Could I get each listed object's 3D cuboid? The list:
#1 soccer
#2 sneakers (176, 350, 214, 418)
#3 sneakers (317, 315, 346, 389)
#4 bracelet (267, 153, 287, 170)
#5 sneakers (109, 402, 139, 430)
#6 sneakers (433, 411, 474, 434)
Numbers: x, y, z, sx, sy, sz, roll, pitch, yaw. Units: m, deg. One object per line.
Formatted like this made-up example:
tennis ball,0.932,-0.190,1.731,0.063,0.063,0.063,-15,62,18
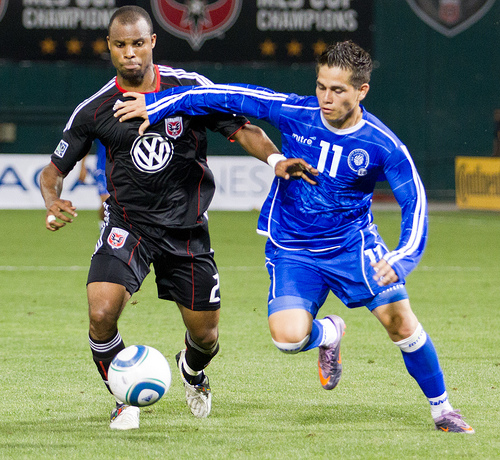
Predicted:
soccer,-0.574,0.828,4.620,0.313,0.338,0.324,10,-19,16
sneakers,-0.319,0.983,4.917,0.133,0.443,0.178,-14,1,-13
sneakers,0.511,0.764,5.223,0.146,0.490,0.199,1,0,31
bracelet,0.155,-0.410,4.798,0.072,0.103,0.099,20,16,6
sneakers,-0.719,1.089,4.720,0.160,0.184,0.114,0,-2,8
sneakers,1.150,1.103,4.565,0.088,0.089,0.186,1,-12,-14
